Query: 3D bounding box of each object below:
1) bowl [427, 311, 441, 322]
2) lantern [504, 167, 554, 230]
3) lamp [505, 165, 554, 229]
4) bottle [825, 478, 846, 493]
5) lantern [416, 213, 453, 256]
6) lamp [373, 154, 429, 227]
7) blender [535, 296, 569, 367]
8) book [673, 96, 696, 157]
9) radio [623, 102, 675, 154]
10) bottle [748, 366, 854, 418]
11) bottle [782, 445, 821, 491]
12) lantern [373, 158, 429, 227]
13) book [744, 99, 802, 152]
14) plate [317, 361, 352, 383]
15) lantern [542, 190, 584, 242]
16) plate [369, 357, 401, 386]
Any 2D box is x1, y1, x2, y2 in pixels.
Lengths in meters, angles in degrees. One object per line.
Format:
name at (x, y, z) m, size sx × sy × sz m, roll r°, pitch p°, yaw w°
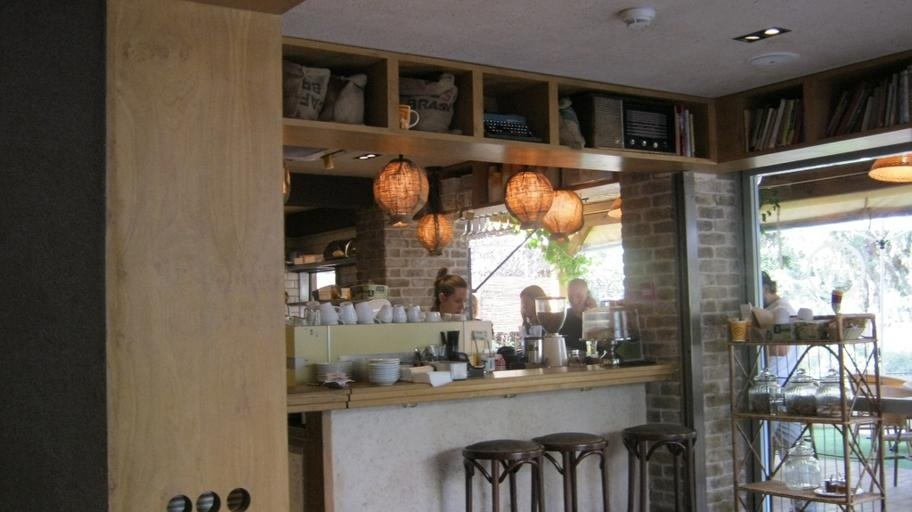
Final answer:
bowl at (-0.182, 0.510, 6.969) m, size 0.082 × 0.047 × 0.077 m, roll 1°, pitch -6°, yaw 0°
lantern at (0.605, -0.501, 7.277) m, size 0.352 × 0.505 × 0.301 m, roll 1°, pitch -7°, yaw -15°
lamp at (0.565, -0.489, 7.422) m, size 0.493 × 0.476 × 0.458 m, roll -2°, pitch 4°, yaw -2°
bottle at (2.888, 1.741, 6.450) m, size 0.110 × 0.059 × 0.095 m, roll -3°, pitch -5°, yaw 28°
lantern at (-0.215, -0.205, 9.011) m, size 0.479 × 0.462 × 0.444 m, roll 1°, pitch -5°, yaw 3°
lamp at (-0.462, -0.564, 7.428) m, size 0.587 × 0.550 × 0.548 m, roll 0°, pitch 2°, yaw 4°
blender at (0.818, 0.650, 7.253) m, size 0.249 × 0.577 × 0.216 m, roll -1°, pitch -6°, yaw 6°
book at (1.924, -1.027, 7.112) m, size 0.070 × 0.446 × 0.269 m, roll -6°, pitch -9°, yaw 41°
radio at (1.653, -1.076, 7.039) m, size 0.516 × 0.374 × 0.267 m, roll 12°, pitch 27°, yaw 38°
bottle at (2.731, 1.090, 6.784) m, size 0.766 × 0.344 × 0.254 m, roll -6°, pitch -8°, yaw 43°
bottle at (2.749, 1.679, 6.765) m, size 0.354 × 0.396 × 0.309 m, roll -1°, pitch -5°, yaw 10°
lantern at (-0.475, -0.545, 7.248) m, size 0.587 × 0.551 × 0.548 m, roll 0°, pitch 3°, yaw 4°
book at (2.586, -1.027, 6.911) m, size 0.283 × 0.422 × 0.483 m, roll 5°, pitch -4°, yaw -36°
plate at (-0.888, 0.853, 6.225) m, size 0.276 × 0.145 × 0.405 m, roll 1°, pitch -6°, yaw -15°
lantern at (1.040, -0.365, 8.045) m, size 0.504 × 0.479 × 0.463 m, roll 0°, pitch -3°, yaw -11°
plate at (-0.518, 0.850, 6.230) m, size 0.268 × 0.181 × 0.214 m, roll 1°, pitch -6°, yaw -17°
